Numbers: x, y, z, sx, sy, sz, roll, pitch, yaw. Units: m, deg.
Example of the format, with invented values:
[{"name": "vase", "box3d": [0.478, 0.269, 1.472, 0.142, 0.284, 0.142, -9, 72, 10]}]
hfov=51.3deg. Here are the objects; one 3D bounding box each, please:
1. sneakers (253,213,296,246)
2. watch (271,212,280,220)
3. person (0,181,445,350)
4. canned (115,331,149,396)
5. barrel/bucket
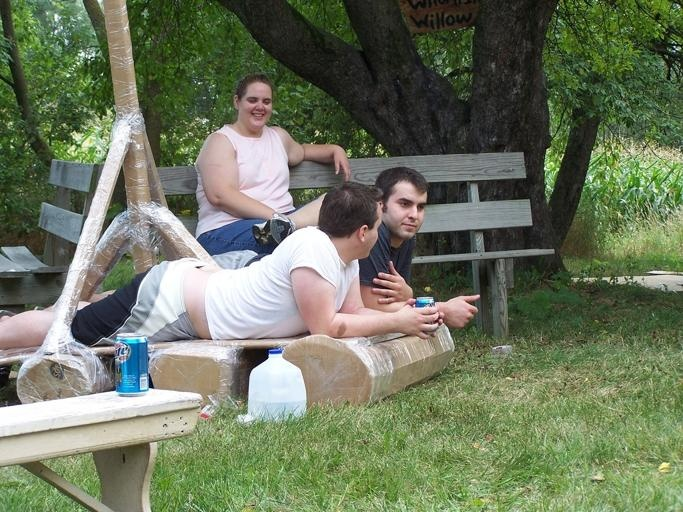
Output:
[{"name": "sneakers", "box3d": [-0.467, -0.186, 4.790, 0.295, 0.161, 0.142, -10, 28, 45]}, {"name": "watch", "box3d": [-0.443, -0.274, 4.770, 0.041, 0.029, 0.068, 1, 10, -1]}, {"name": "person", "box3d": [-0.673, 0.006, 4.572, 3.058, 1.328, 1.038, -1, 3, 1]}, {"name": "canned", "box3d": [-0.792, 0.409, 2.709, 0.115, 0.224, 0.087, -2, 5, -22]}, {"name": "barrel/bucket", "box3d": [-0.338, 0.674, 3.769, 0.316, 0.325, 0.363, 0, 4, -4]}]
